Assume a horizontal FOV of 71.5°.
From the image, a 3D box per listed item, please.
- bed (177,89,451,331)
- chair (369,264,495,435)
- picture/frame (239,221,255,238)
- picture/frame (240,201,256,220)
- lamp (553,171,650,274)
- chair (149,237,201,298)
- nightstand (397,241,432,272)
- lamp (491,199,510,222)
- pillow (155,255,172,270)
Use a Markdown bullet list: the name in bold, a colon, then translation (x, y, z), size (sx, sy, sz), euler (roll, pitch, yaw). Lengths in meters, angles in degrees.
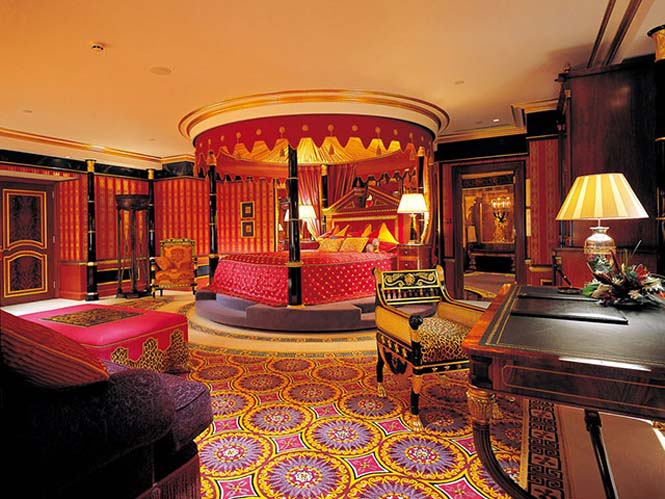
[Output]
- **bed**: translation (-0.059, -0.618, 6.413), size (2.989, 2.054, 2.981), euler (1, -1, -42)
- **chair**: translation (0.575, 0.671, 3.724), size (0.993, 1.389, 0.999), euler (0, -3, -26)
- **picture/frame**: translation (-1.728, -0.422, 9.445), size (0.314, 0.355, 0.026), euler (-3, -6, 23)
- **picture/frame**: translation (-1.708, -0.811, 9.434), size (0.354, 0.433, 0.029), euler (0, 1, 30)
- **lamp**: translation (1.816, -0.195, 3.095), size (0.471, 0.615, 0.445), euler (-8, 9, -25)
- **chair**: translation (-2.750, 0.248, 8.233), size (1.072, 1.518, 0.922), euler (1, -5, -23)
- **nightstand**: translation (1.261, 0.106, 6.842), size (0.351, 0.602, 0.453), euler (-1, -3, 35)
- **lamp**: translation (4.117, -0.973, 11.380), size (0.474, 0.780, 0.499), euler (-1, 8, 6)
- **pillow**: translation (-2.925, 0.234, 8.034), size (0.236, 0.282, 0.215), euler (-1, 1, 32)
